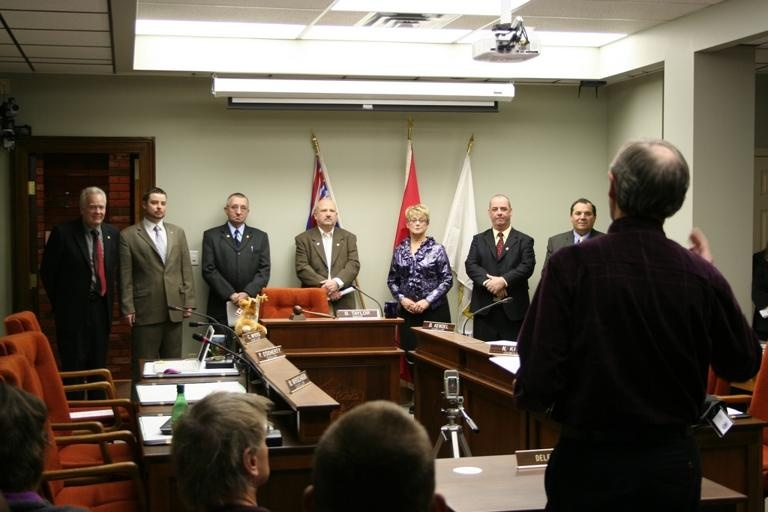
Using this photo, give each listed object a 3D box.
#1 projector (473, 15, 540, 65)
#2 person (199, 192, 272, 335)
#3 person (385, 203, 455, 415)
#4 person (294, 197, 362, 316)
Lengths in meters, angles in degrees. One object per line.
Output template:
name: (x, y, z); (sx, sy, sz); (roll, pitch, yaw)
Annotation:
projector: (0.828, -1.660, 4.508); (0.294, 0.162, 0.450); (-1, 2, -4)
person: (-1.555, 0.014, 6.278); (0.669, 1.378, 0.530); (-2, 4, -16)
person: (0.310, 0.200, 6.101); (0.563, 1.453, 0.544); (-2, 4, -14)
person: (-0.640, -0.016, 6.397); (0.645, 1.202, 0.465); (-1, 4, -9)
